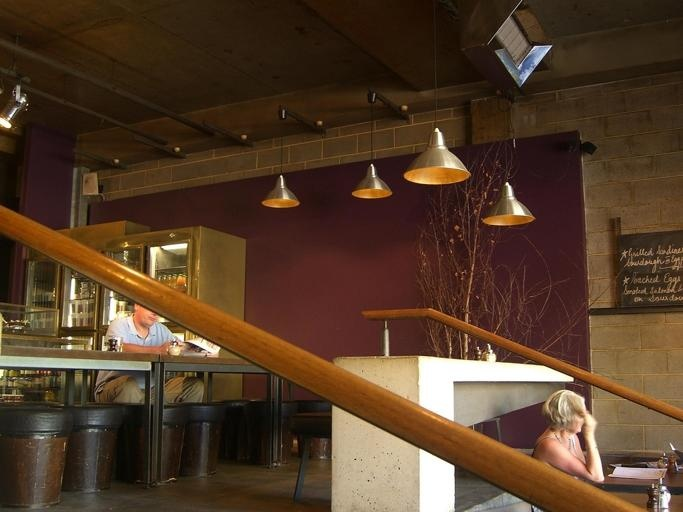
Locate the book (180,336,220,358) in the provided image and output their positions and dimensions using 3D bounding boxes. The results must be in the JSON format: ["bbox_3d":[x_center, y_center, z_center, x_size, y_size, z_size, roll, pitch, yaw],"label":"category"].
[{"bbox_3d":[-1.156,0.749,5.926,0.292,0.171,0.471,2,-9,-12],"label":"book"}]

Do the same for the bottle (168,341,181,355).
[{"bbox_3d":[-1.347,0.746,5.811,0.096,0.083,0.093,1,-8,22],"label":"bottle"}]

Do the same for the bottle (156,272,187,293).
[{"bbox_3d":[-1.998,0.313,8.626,0.650,0.275,0.181,-9,-13,43],"label":"bottle"}]
